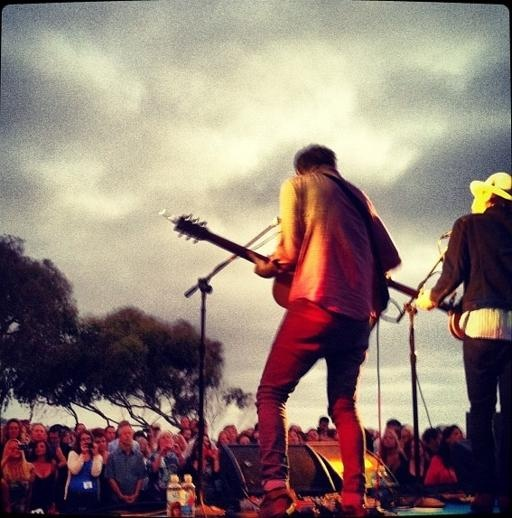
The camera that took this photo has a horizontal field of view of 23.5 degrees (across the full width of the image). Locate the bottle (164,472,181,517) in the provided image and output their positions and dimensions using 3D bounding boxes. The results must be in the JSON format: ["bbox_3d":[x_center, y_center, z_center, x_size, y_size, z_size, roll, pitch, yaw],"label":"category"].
[{"bbox_3d":[-0.602,1.745,9.029,0.111,0.308,0.062,0,-14,3],"label":"bottle"}]

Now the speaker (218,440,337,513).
[{"bbox_3d":[0.116,1.528,9.198,0.698,0.523,0.354,0,9,-1],"label":"speaker"}]
